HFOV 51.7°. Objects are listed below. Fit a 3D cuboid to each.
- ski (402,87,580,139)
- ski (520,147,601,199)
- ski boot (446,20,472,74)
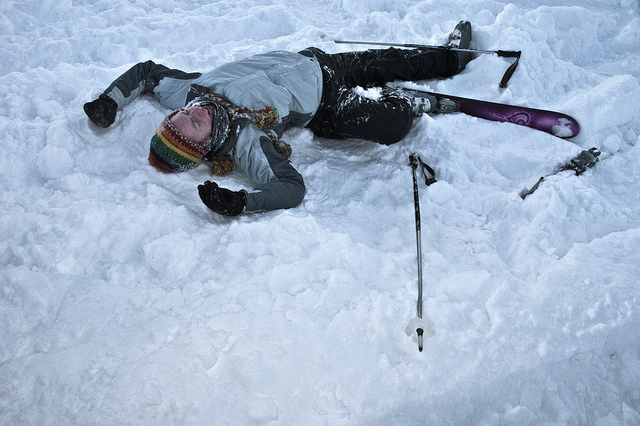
[{"bbox_3d":[1.771,-0.958,6.419,1.440,0.289,0.212,17,61,6],"label":"ski"},{"bbox_3d":[2.230,-0.365,5.936,0.956,0.134,0.177,-30,67,-19],"label":"ski"},{"bbox_3d":[1.518,-1.829,7.079,0.216,0.249,0.655,11,91,42],"label":"ski boot"}]
